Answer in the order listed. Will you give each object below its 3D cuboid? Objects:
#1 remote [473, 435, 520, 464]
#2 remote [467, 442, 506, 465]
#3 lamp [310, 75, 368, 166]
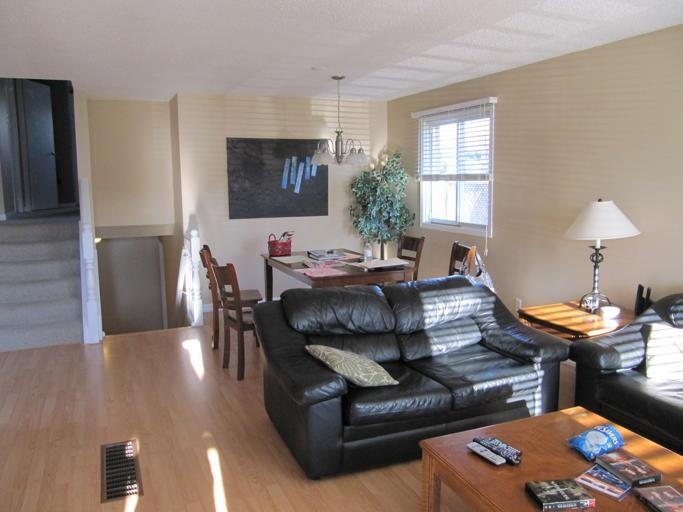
[{"bbox_3d":[0.917,1.118,2.989,0.111,0.051,0.190,-6,16,-32],"label":"remote"},{"bbox_3d":[0.839,1.145,2.960,0.071,0.025,0.219,-16,18,-27],"label":"remote"},{"bbox_3d":[-0.033,-1.658,6.258,0.766,1.011,0.725,-3,14,-8],"label":"lamp"}]
